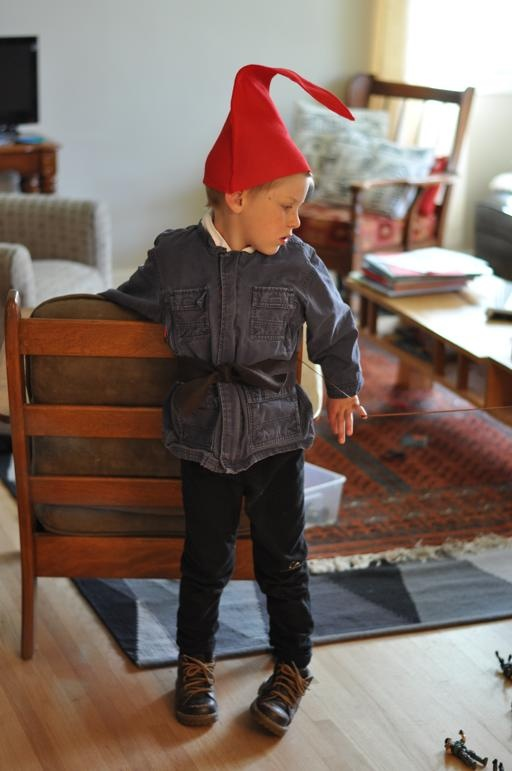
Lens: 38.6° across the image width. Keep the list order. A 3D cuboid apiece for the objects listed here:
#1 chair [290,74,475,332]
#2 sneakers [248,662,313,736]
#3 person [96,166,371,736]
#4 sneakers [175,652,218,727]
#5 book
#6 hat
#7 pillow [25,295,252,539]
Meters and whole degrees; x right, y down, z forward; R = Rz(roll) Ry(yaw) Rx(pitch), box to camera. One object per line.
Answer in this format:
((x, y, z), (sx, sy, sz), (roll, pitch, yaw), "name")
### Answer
((0.425, -0.803, 3.087), (0.660, 0.867, 0.692), (-15, 38, -23), "chair")
((0.034, 0.475, 1.136), (0.051, 0.061, 0.145), (33, 4, 1), "sneakers")
((-0.060, 0.104, 1.102), (0.415, 0.824, 0.284), (9, 23, 9), "person")
((-0.096, 0.469, 1.165), (0.061, 0.082, 0.157), (3, -2, -12), "sneakers")
((0.511, -0.334, 2.175), (0.246, 0.067, 0.231), (-3, 18, -9), "book")
((0.002, -0.340, 0.981), (0.104, 0.165, 0.111), (-7, 25, -26), "hat")
((-0.176, 0.027, 1.255), (0.368, 0.303, 0.354), (1, 22, -5), "pillow")
